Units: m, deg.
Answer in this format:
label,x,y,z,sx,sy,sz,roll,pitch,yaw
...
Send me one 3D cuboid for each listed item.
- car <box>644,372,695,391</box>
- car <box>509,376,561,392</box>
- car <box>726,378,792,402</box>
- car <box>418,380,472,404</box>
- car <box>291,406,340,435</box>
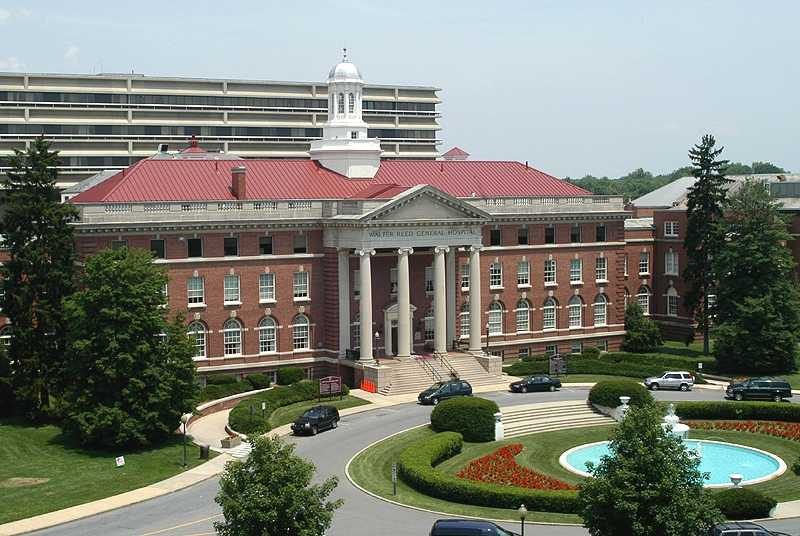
label,x,y,z,sx,sy,sz,roll,pitch,yaw
car,26.405,11.175,113.830,3.771,1.311,1.967,2,-2,2
car,12.973,11.262,111.927,4.594,1.192,1.827,1,-2,-18
car,33.616,11.637,109.167,5.008,1.561,2.410,1,-2,3
car,4.173,11.550,107.404,4.257,1.594,2.199,1,-1,-20
car,-7.238,13.247,100.403,1.551,1.494,4.059,-3,-1,44
